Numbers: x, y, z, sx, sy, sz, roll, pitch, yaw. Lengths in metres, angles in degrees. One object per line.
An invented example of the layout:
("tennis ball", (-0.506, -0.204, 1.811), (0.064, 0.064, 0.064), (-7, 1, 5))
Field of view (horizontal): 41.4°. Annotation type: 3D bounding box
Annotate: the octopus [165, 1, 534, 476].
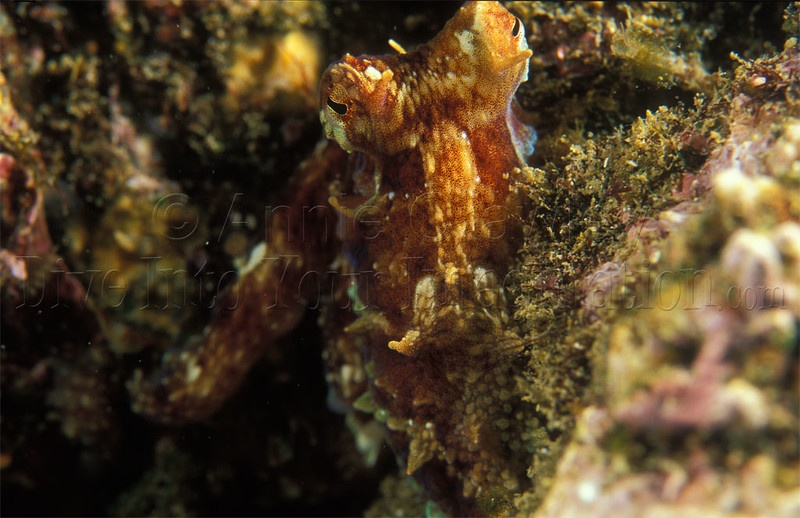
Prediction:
("octopus", (-0.062, 0.001, 2.598), (0.903, 1.114, 0.434), (11, 11, 24))
